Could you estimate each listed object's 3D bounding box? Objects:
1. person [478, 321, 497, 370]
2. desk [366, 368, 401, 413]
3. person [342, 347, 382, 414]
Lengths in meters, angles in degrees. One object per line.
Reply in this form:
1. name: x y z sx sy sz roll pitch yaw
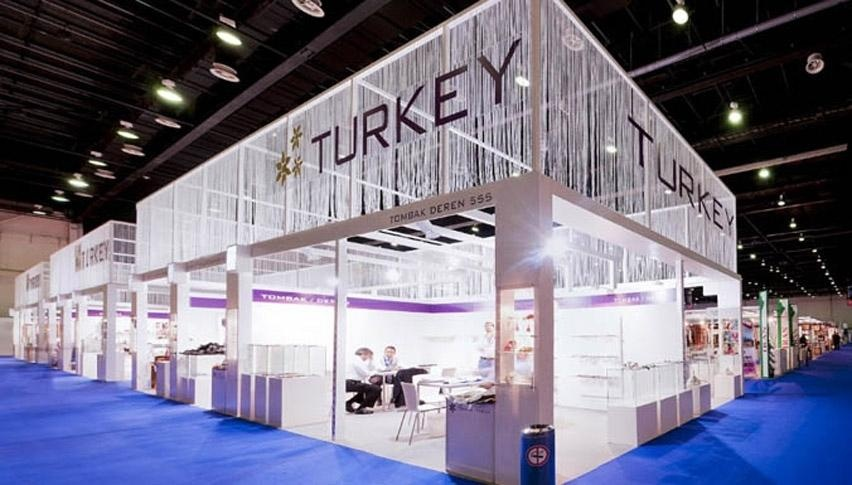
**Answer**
1. person: 1.563 2.639 14.813 0.374 1.349 0.969 0 4 2
2. desk: -0.988 3.883 15.358 0.928 1.021 1.108 -21 -28 36
3. person: -1.621 3.604 15.188 0.920 1.521 1.260 0 4 -5
